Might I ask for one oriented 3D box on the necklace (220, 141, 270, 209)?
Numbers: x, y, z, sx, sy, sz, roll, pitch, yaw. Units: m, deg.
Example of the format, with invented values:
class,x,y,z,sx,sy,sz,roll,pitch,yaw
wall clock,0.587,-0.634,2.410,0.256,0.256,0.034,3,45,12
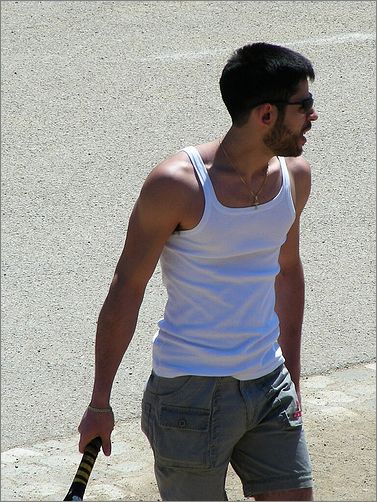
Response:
class,x,y,z,sx,sy,sz,roll,pitch,yaw
necklace,0.210,-0.249,3.067,0.047,0.159,0.195,-24,-12,36
